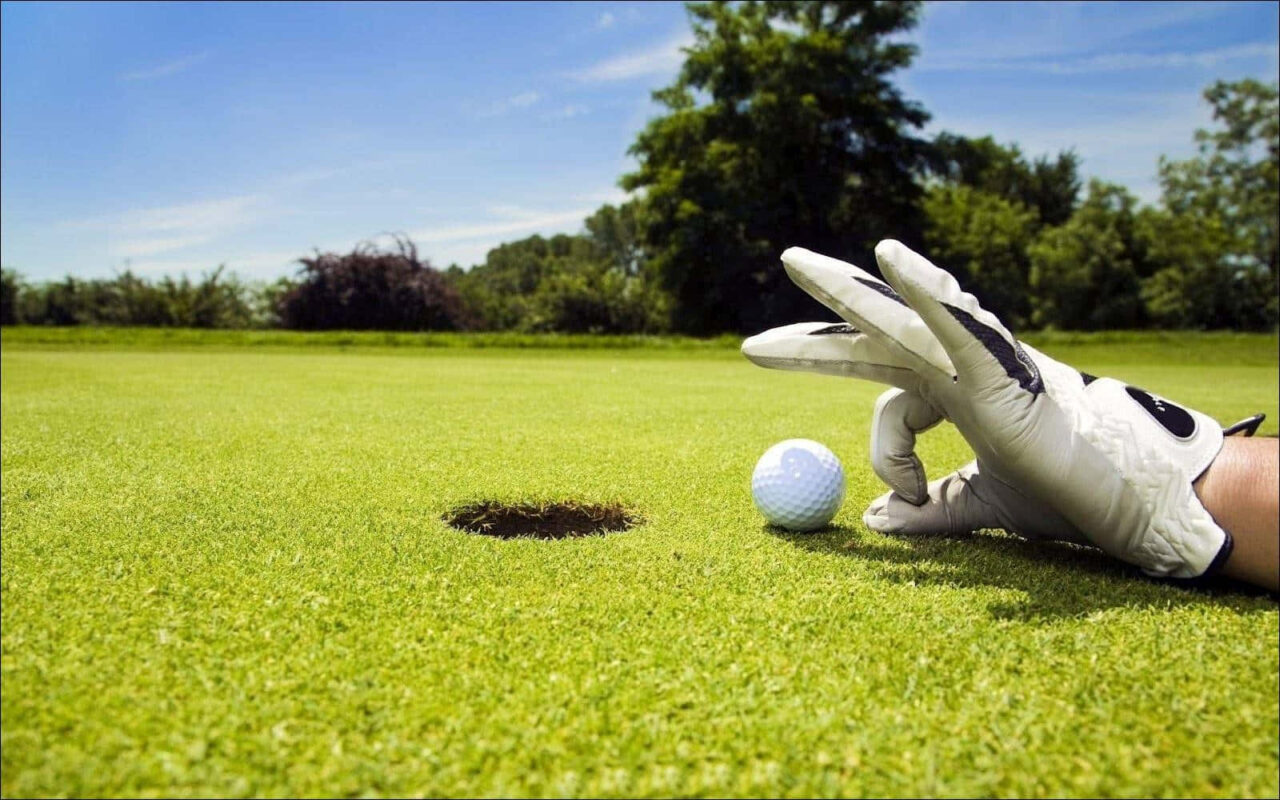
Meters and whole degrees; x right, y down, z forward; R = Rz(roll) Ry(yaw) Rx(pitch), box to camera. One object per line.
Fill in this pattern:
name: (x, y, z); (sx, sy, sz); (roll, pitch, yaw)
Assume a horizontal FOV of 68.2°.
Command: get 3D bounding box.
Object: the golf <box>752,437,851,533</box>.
golf: (1.091, 0.630, 6.820); (0.698, 0.669, 0.700); (-5, 0, 31)
